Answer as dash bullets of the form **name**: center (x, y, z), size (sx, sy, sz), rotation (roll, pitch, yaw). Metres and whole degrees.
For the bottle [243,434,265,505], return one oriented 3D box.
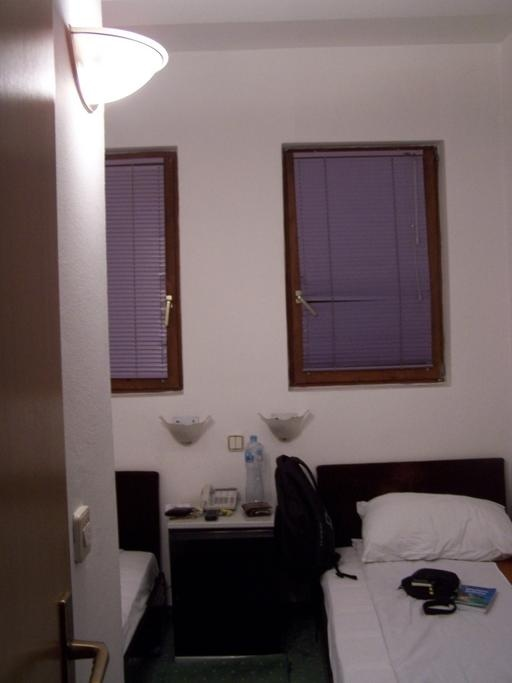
- **bottle**: center (-0.022, 0.624, 2.918), size (0.106, 0.301, 0.178), rotation (-7, 3, 11)

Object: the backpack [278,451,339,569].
- **backpack**: center (0.210, 0.777, 2.684), size (0.225, 0.512, 0.333), rotation (-11, -5, 11)

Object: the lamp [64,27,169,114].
- **lamp**: center (-0.280, -0.561, 1.285), size (0.185, 0.155, 0.234), rotation (-10, 3, -6)

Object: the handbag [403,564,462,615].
- **handbag**: center (0.649, 0.887, 2.186), size (0.213, 0.062, 0.277), rotation (-11, 3, -9)
